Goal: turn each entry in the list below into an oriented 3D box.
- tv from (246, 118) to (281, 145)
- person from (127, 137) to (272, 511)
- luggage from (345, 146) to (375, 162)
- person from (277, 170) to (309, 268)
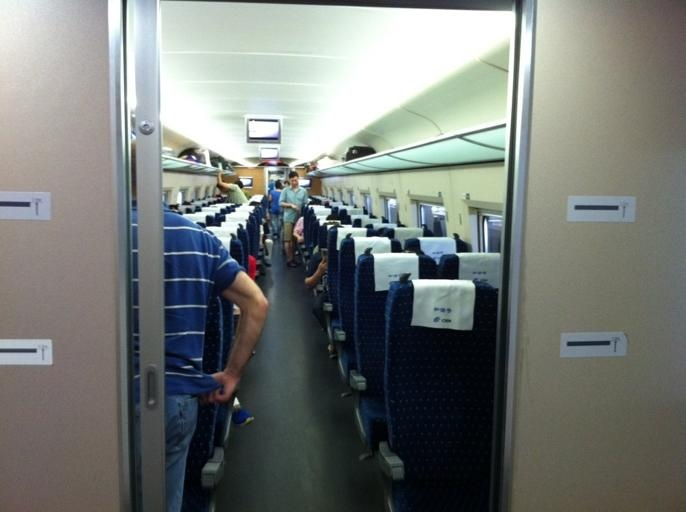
[{"bbox_3d":[-1.322,-2.065,8.929,0.591,0.092,0.594,1,-20,-5],"label":"tv"},{"bbox_3d":[-0.711,0.369,2.597,0.384,1.737,0.738,6,10,27],"label":"person"},{"bbox_3d":[0.345,-2.092,11.636,0.428,0.324,0.635,3,9,13],"label":"luggage"},{"bbox_3d":[-1.071,-0.794,11.884,0.610,2.029,0.620,17,20,39],"label":"person"}]
